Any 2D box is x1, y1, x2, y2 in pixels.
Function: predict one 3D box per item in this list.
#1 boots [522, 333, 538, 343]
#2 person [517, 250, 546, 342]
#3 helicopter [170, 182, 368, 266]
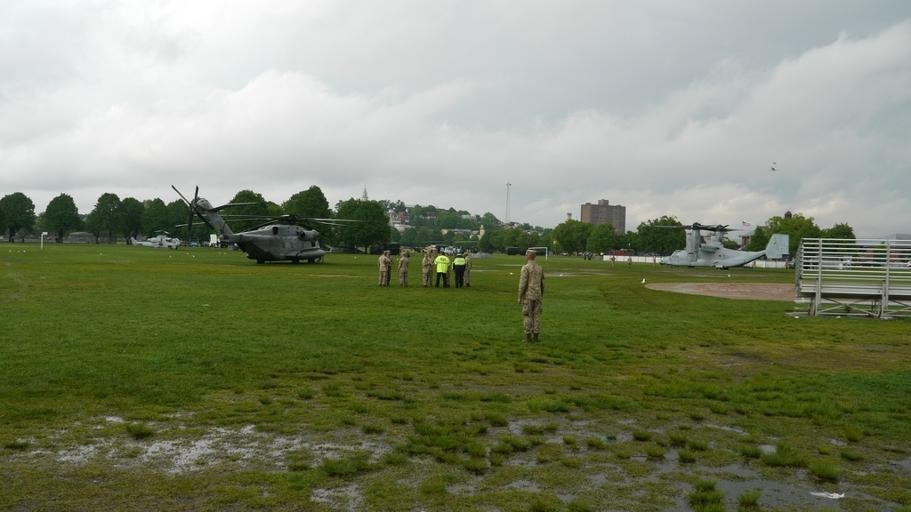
[{"bbox_3d":[2.636,2.809,22.890,0.469,0.420,0.295,-6,10,-24],"label":"boots"},{"bbox_3d":[2.627,1.381,23.147,1.234,2.738,1.533,0,0,-3],"label":"person"},{"bbox_3d":[-16.829,-1.807,60.894,12.696,4.675,15.125,4,4,40],"label":"helicopter"}]
